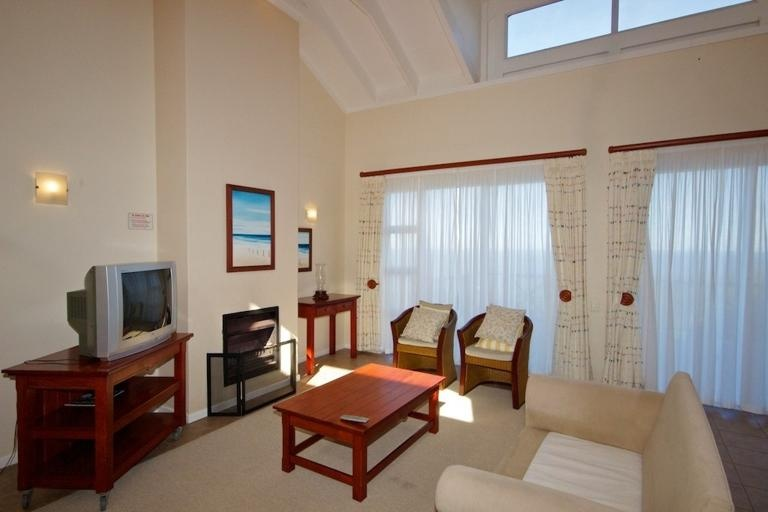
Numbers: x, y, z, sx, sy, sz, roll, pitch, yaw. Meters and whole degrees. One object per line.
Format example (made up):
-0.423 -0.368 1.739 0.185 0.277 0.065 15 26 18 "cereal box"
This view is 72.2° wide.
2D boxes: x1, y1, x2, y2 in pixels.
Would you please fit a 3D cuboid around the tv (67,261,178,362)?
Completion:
-2.609 0.457 5.385 0.763 1.090 1.186 0 2 14 "tv"

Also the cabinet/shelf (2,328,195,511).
-2.698 1.489 5.323 1.181 1.497 2.046 1 2 8 "cabinet/shelf"

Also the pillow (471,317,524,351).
1.415 0.941 6.488 0.597 0.401 0.347 2 4 17 "pillow"

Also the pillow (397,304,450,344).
0.524 0.905 6.909 0.601 0.451 0.443 2 4 25 "pillow"

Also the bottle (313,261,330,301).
-0.911 0.357 7.588 0.210 0.475 0.652 0 3 -8 "bottle"

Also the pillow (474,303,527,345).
1.427 0.831 6.494 0.437 0.471 0.144 9 -36 34 "pillow"
